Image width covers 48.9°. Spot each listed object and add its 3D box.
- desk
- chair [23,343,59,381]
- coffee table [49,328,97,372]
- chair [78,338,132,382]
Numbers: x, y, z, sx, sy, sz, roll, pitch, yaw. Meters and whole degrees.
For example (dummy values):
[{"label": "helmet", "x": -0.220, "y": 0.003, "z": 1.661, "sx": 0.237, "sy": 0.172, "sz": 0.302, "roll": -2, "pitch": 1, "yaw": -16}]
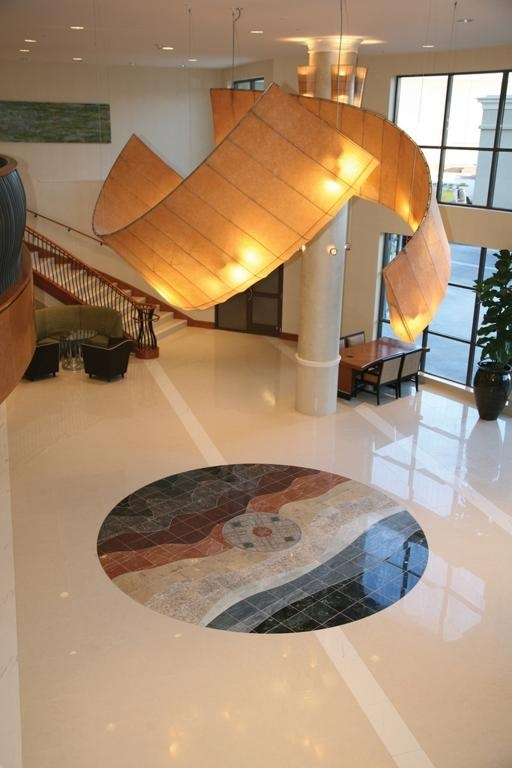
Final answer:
[{"label": "desk", "x": 2.115, "y": -0.199, "z": 10.055, "sx": 0.979, "sy": 0.855, "sz": 1.871, "roll": 16, "pitch": 23, "yaw": 42}, {"label": "chair", "x": -3.365, "y": -0.341, "z": 8.773, "sx": 0.427, "sy": 0.550, "sz": 0.396, "roll": 26, "pitch": 33, "yaw": 30}, {"label": "coffee table", "x": -3.715, "y": -0.706, "z": 11.262, "sx": 0.803, "sy": 0.604, "sz": 0.828, "roll": 6, "pitch": 29, "yaw": 8}, {"label": "chair", "x": -2.837, "y": -0.476, "z": 10.514, "sx": 0.812, "sy": 0.765, "sz": 0.611, "roll": 12, "pitch": 20, "yaw": 35}]
